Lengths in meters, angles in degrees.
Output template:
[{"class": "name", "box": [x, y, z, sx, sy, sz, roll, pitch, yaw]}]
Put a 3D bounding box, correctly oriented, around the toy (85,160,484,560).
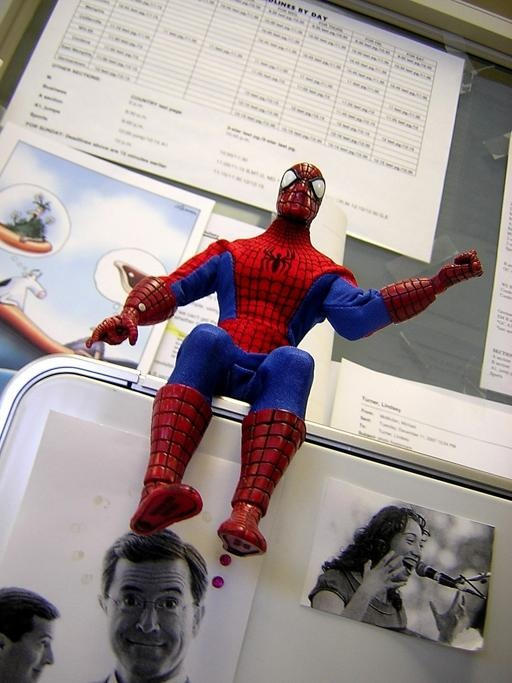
[{"class": "toy", "box": [0.015, -0.027, 0.872, 0.403, 0.458, 0.389, 22, 9, 38]}]
